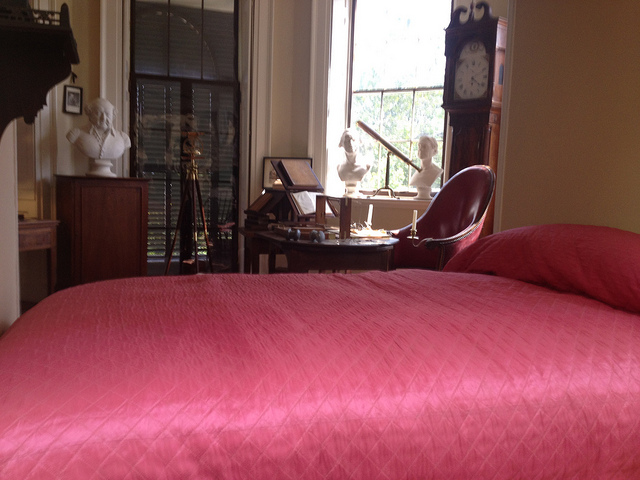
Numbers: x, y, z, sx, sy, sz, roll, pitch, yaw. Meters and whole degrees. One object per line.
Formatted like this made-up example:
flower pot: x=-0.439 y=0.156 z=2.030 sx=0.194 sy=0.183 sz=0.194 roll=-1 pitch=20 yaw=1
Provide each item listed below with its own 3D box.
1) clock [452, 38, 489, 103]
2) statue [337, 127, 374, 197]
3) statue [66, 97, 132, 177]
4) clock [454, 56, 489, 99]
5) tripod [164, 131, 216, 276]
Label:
clock: x=1.154 y=-1.265 z=3.740 sx=0.256 sy=0.538 sz=0.048 roll=1 pitch=49 yaw=15
statue: x=0.319 y=-0.674 z=4.674 sx=0.313 sy=0.642 sz=0.303 roll=15 pitch=-17 yaw=-40
statue: x=-1.812 y=-0.839 z=4.109 sx=0.482 sy=0.672 sz=0.265 roll=0 pitch=1 yaw=-41
clock: x=1.153 y=-1.219 z=3.727 sx=0.036 sy=0.412 sz=0.305 roll=2 pitch=0 yaw=-42
tripod: x=-1.212 y=-0.297 z=4.572 sx=0.458 sy=1.381 sz=0.817 roll=-2 pitch=11 yaw=-13
